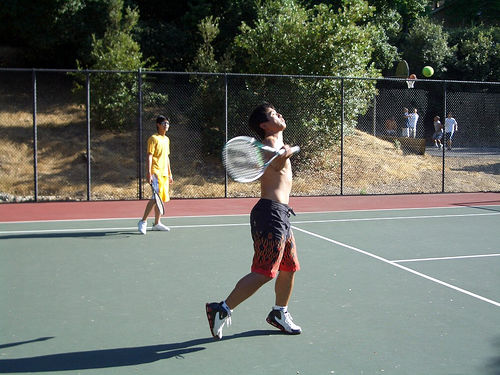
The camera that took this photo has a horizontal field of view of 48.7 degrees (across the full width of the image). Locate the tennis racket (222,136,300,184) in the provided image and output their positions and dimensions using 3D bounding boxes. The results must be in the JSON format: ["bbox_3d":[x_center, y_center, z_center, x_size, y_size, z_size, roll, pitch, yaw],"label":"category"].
[{"bbox_3d":[0.068,-0.307,5.952,0.683,0.464,0.228,0,9,-3],"label":"tennis racket"}]

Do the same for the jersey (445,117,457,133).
[{"bbox_3d":[10.776,-3.341,29.820,0.454,0.778,0.898,3,9,19],"label":"jersey"}]

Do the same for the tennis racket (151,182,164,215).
[{"bbox_3d":[-1.738,0.205,10.550,0.077,0.649,0.155,-3,-18,-38],"label":"tennis racket"}]
